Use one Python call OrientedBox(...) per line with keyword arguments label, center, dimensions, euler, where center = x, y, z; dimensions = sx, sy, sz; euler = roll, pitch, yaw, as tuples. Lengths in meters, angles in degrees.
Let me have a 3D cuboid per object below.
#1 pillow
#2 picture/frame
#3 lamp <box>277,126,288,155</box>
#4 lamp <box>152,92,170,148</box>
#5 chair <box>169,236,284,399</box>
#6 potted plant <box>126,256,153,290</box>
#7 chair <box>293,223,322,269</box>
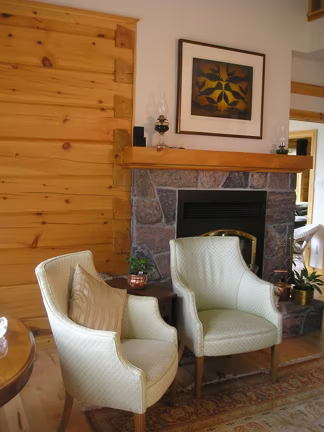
OrientedBox(label="pillow", center=(-0.302, 0.367, 1.578), dimensions=(0.101, 0.310, 0.335), euler=(-24, -44, 28))
OrientedBox(label="picture/frame", center=(0.458, -1.073, 2.889), dimensions=(1.020, 0.789, 0.040), euler=(1, 3, -25))
OrientedBox(label="lamp", center=(1.074, -0.669, 3.100), dimensions=(0.090, 0.257, 0.161), euler=(3, 4, 18))
OrientedBox(label="lamp", center=(-0.002, -0.657, 2.548), dimensions=(0.095, 0.284, 0.090), euler=(-1, -16, 6))
OrientedBox(label="chair", center=(0.346, 0.510, 2.162), dimensions=(0.703, 0.914, 0.865), euler=(-1, 2, -17))
OrientedBox(label="potted plant", center=(-0.146, 0.353, 2.268), dimensions=(0.188, 0.227, 0.219), euler=(-1, 3, -28))
OrientedBox(label="chair", center=(2.089, 0.454, 5.008), dimensions=(0.368, 0.710, 1.393), euler=(3, 4, 21))
